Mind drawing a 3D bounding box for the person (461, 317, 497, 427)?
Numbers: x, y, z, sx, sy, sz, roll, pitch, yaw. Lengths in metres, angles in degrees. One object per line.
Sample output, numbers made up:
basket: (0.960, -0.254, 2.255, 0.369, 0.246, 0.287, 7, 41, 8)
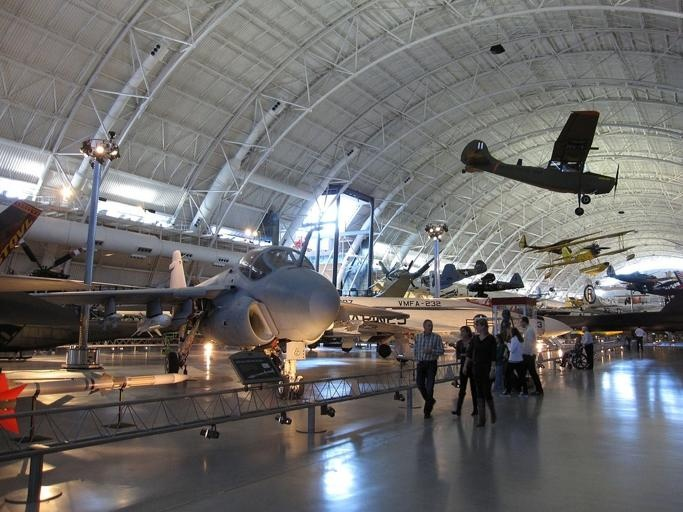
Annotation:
person: (2.618, 2.124, 9.471, 0.481, 1.929, 0.607, 2, -11, 1)

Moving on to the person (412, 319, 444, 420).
person: (1.720, 2.209, 10.137, 0.593, 1.870, 0.697, 1, -11, 9)

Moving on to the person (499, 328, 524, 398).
person: (4.277, 2.594, 12.675, 0.482, 1.651, 1.391, -1, -11, 17)

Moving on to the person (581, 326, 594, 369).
person: (8.895, 3.337, 18.410, 0.319, 1.410, 0.899, -2, -11, 21)

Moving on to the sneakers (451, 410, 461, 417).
sneakers: (2.259, 3.099, 10.060, 0.175, 0.089, 0.247, 1, -8, 7)

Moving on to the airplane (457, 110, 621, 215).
airplane: (8.757, -3.592, 22.821, 7.322, 2.275, 8.812, 11, -10, 16)

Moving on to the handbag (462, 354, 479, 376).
handbag: (2.432, 2.136, 9.830, 0.317, 0.337, 0.099, -1, 34, 2)

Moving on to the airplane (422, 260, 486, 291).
airplane: (7.759, 1.208, 35.239, 3.161, 1.048, 3.009, -10, -44, 18)
